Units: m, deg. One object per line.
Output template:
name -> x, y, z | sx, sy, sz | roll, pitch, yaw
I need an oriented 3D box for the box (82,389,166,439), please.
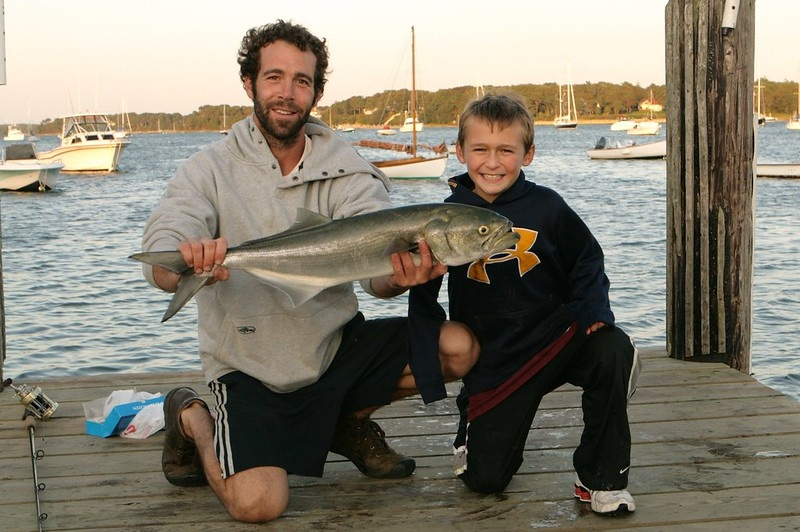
box -> -2.000, 1.090, 6.476 | 0.599, 0.163, 0.463 | 2, 21, -8

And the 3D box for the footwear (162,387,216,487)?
footwear -> -1.410, 1.127, 5.727 | 0.347, 0.589, 0.393 | -5, 16, -7

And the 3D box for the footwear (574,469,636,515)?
footwear -> 1.262, 1.434, 5.441 | 0.188, 0.139, 0.395 | 1, -2, -31

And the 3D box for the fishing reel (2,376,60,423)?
fishing reel -> -2.667, 1.000, 6.426 | 0.247, 0.275, 0.303 | -8, 16, -19
